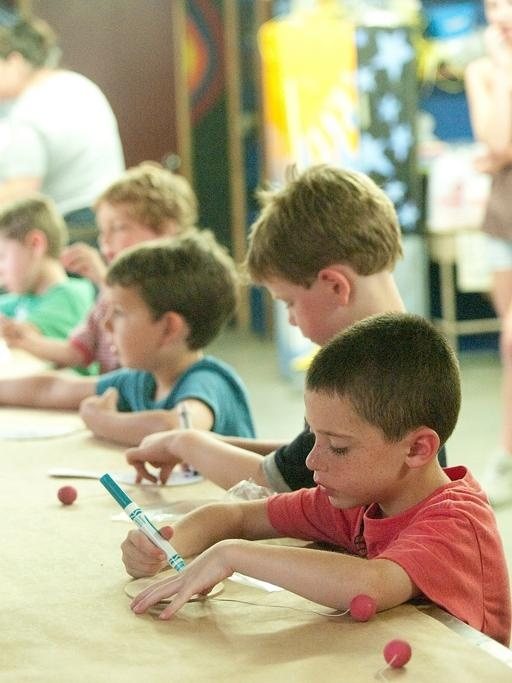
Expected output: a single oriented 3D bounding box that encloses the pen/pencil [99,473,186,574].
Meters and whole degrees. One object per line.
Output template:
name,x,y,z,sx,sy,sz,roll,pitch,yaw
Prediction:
pen/pencil,-0.114,0.180,0.749,0.018,0.018,0.123,-47,58,-8
